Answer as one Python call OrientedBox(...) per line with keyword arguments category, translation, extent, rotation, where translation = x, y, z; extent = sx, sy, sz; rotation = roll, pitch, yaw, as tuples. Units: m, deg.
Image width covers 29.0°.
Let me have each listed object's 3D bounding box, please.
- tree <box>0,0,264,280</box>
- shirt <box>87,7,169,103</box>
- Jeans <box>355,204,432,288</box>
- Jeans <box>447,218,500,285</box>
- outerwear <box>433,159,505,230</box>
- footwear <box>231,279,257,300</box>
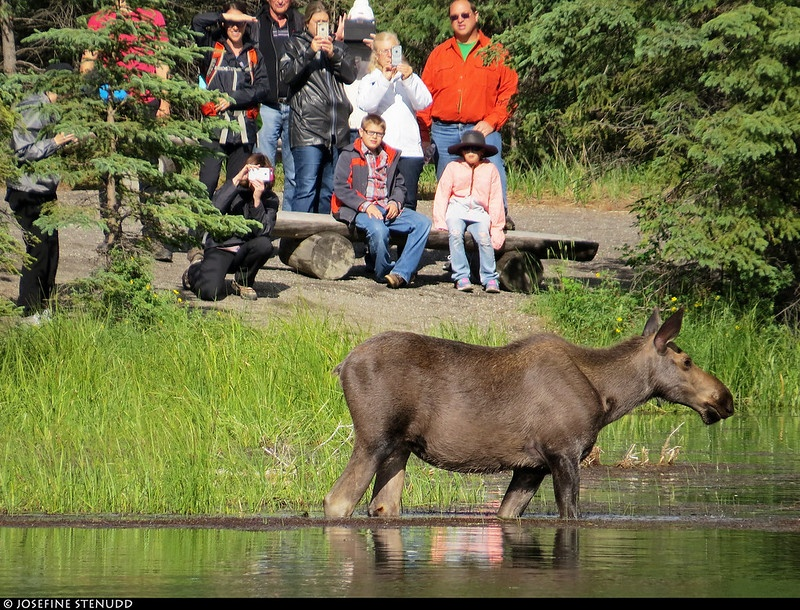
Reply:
OrientedBox(category="tree", translation=(-2.919, -2.114, 18.464), extent=(2.564, 3.356, 2.643), rotation=(8, 15, 23))
OrientedBox(category="shirt", translation=(-3.194, -2.974, 18.051), extent=(0.919, 1.424, 1.104), rotation=(-6, 13, -15))
OrientedBox(category="Jeans", translation=(-0.136, -0.872, 21.781), extent=(0.824, 1.154, 0.367), rotation=(-9, 29, -21))
OrientedBox(category="Jeans", translation=(1.057, -0.795, 21.988), extent=(0.690, 1.361, 0.443), rotation=(2, -36, -11))
OrientedBox(category="outerwear", translation=(0.996, -1.669, 21.994), extent=(1.262, 1.485, 0.813), rotation=(1, 2, 1))
OrientedBox(category="footwear", translation=(-2.056, -0.213, 20.289), extent=(0.159, 0.164, 0.426), rotation=(-9, 22, -36))
